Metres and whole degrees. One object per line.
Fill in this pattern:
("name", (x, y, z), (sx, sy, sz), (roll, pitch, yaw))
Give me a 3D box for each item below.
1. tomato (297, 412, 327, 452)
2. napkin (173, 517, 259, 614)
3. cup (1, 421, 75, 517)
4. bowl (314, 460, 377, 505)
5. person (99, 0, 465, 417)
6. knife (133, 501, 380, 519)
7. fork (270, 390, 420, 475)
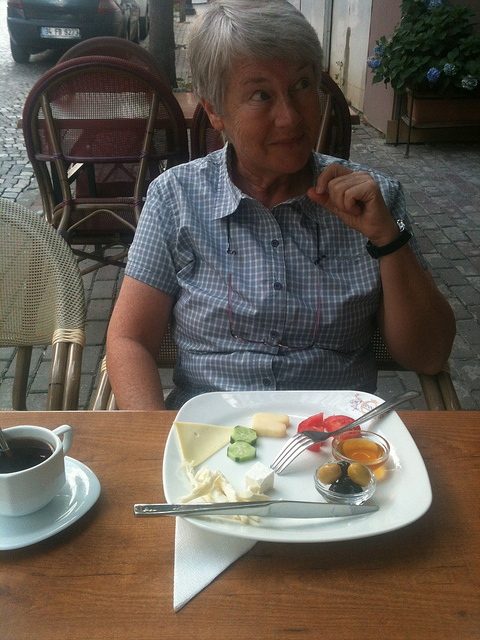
("tomato", (0.129, 0.206, 0.958), (0.039, 0.024, 0.064), (14, 19, 22))
("napkin", (-0.057, 0.305, 0.722), (0.117, 0.007, 0.135), (-36, 24, -14))
("cup", (-0.312, 0.213, 0.805), (0.103, 0.079, 0.136), (7, 25, 17))
("bowl", (0.158, 0.256, 0.798), (0.090, 0.041, 0.049), (3, 26, 7))
("person", (0.078, -0.248, 1.425), (0.969, 1.057, 0.672), (-7, 27, -13))
("knife", (0.024, 0.264, 0.738), (0.349, 0.026, 0.032), (1, -16, -9))
("fork", (0.184, 0.203, 0.936), (0.215, 0.023, 0.028), (-24, 29, -11))
